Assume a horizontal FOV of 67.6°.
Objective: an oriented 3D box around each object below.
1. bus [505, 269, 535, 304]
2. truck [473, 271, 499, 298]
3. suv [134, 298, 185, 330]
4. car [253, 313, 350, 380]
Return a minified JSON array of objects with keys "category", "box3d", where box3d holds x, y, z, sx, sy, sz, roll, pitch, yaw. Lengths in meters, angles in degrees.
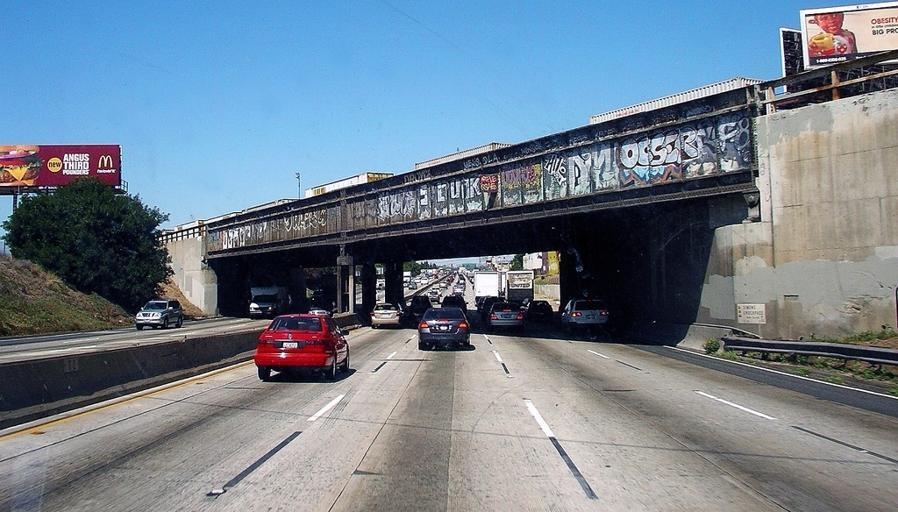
[{"category":"bus","box3d":[7.609,3.206,73.010,3.394,3.243,3.480,-2,-5,21]},{"category":"truck","box3d":[4.674,3.242,79.268,2.919,2.812,2.876,1,-8,-8]},{"category":"suv","box3d":[-23.417,4.756,53.950,2.091,1.769,4.035,-2,-10,5]},{"category":"car","box3d":[-6.054,3.819,27.146,3.550,2.823,2.273,-3,9,-18]}]
